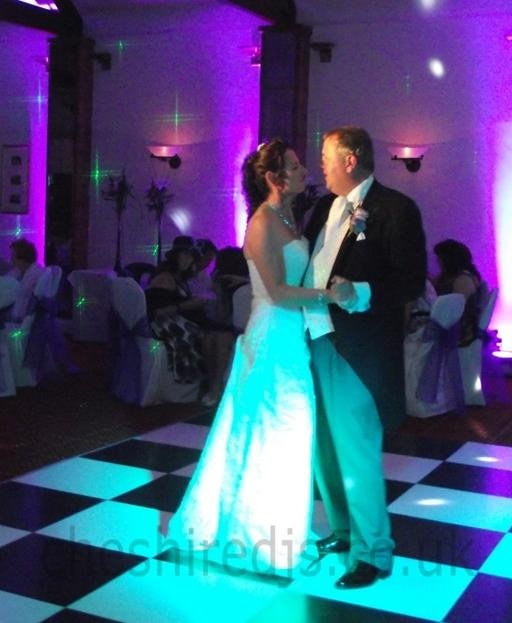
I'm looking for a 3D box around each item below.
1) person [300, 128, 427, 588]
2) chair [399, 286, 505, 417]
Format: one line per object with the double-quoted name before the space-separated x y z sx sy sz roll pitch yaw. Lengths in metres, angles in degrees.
"person" 0.298 0.146 1.711 0.306 1.298 0.434 0 2 -3
"chair" 1.485 0.386 4.670 0.774 1.534 1.229 1 -5 16
